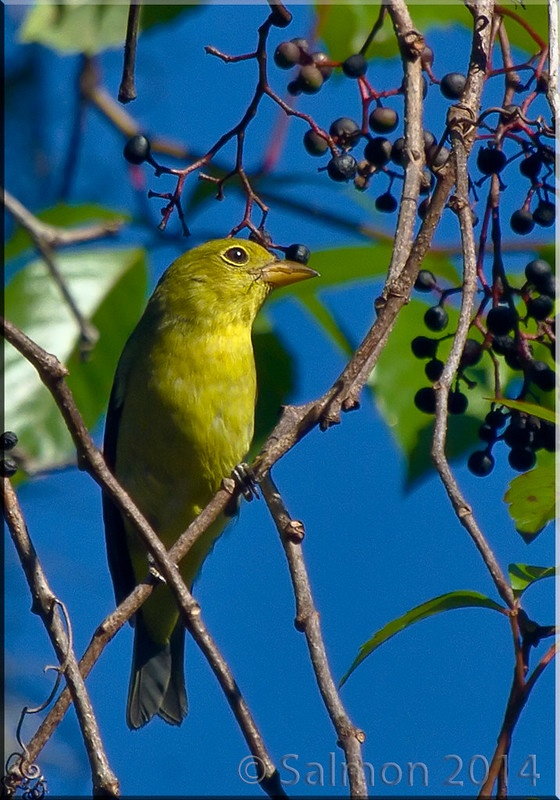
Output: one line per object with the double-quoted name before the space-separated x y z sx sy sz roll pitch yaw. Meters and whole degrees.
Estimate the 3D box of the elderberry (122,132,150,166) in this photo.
"elderberry" -0.318 -0.569 3.110 0.067 0.067 0.036 -29 -27 25

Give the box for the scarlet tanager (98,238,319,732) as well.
"scarlet tanager" -0.200 0.334 3.688 0.459 1.420 0.603 8 18 -24
